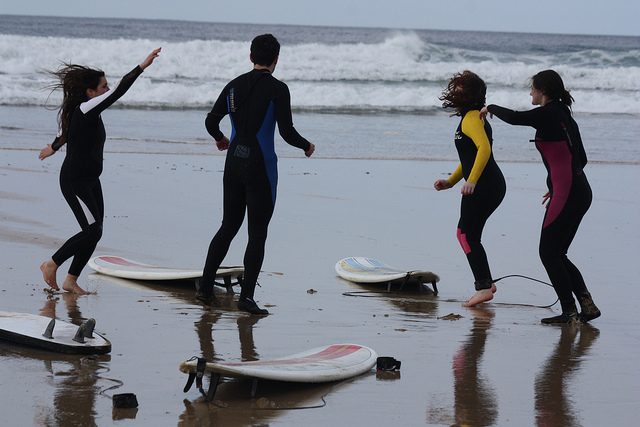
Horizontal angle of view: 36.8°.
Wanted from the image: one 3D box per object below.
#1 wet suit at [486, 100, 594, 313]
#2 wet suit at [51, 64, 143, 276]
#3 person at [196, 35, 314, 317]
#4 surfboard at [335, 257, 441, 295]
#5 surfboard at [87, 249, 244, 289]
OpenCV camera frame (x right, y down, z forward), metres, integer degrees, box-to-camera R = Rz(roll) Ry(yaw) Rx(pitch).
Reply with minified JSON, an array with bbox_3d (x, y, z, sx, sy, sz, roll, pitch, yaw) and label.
[{"bbox_3d":[2.898,-0.094,12.005,0.999,2.641,0.332,0,3,-10],"label":"wet suit"},{"bbox_3d":[-2.915,-0.484,12.295,0.979,2.562,0.458,1,3,-4],"label":"wet suit"},{"bbox_3d":[-0.918,-0.486,12.358,1.213,3.460,1.378,0,3,-7],"label":"person"},{"bbox_3d":[0.864,0.857,13.225,1.427,0.420,0.700,2,3,41],"label":"surfboard"},{"bbox_3d":[-2.395,0.761,12.881,2.408,0.273,0.727,7,9,37],"label":"surfboard"}]
